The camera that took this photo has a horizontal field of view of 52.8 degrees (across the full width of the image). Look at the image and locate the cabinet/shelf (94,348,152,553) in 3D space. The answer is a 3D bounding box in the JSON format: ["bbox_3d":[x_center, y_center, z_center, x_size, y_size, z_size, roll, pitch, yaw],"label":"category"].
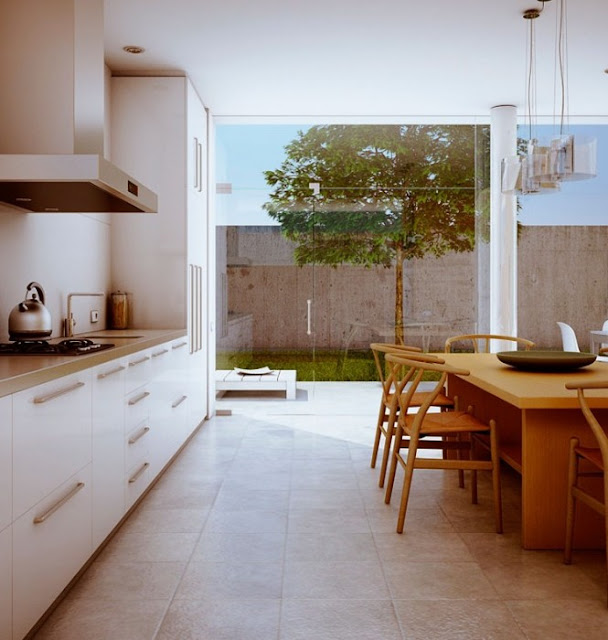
[{"bbox_3d":[-0.853,0.615,2.852,0.279,0.748,0.795,-1,1,-6],"label":"cabinet/shelf"}]

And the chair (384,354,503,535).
[{"bbox_3d":[0.782,0.591,3.474,0.704,1.247,0.783,-1,1,-1],"label":"chair"}]

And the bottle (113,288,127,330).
[{"bbox_3d":[-1.340,-0.068,4.427,0.139,0.257,0.058,1,3,15],"label":"bottle"}]

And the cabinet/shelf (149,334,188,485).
[{"bbox_3d":[-0.854,0.565,3.829,0.261,0.735,0.805,0,0,-3],"label":"cabinet/shelf"}]

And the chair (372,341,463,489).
[{"bbox_3d":[0.680,0.575,3.740,0.464,0.828,0.633,4,6,-8],"label":"chair"}]
